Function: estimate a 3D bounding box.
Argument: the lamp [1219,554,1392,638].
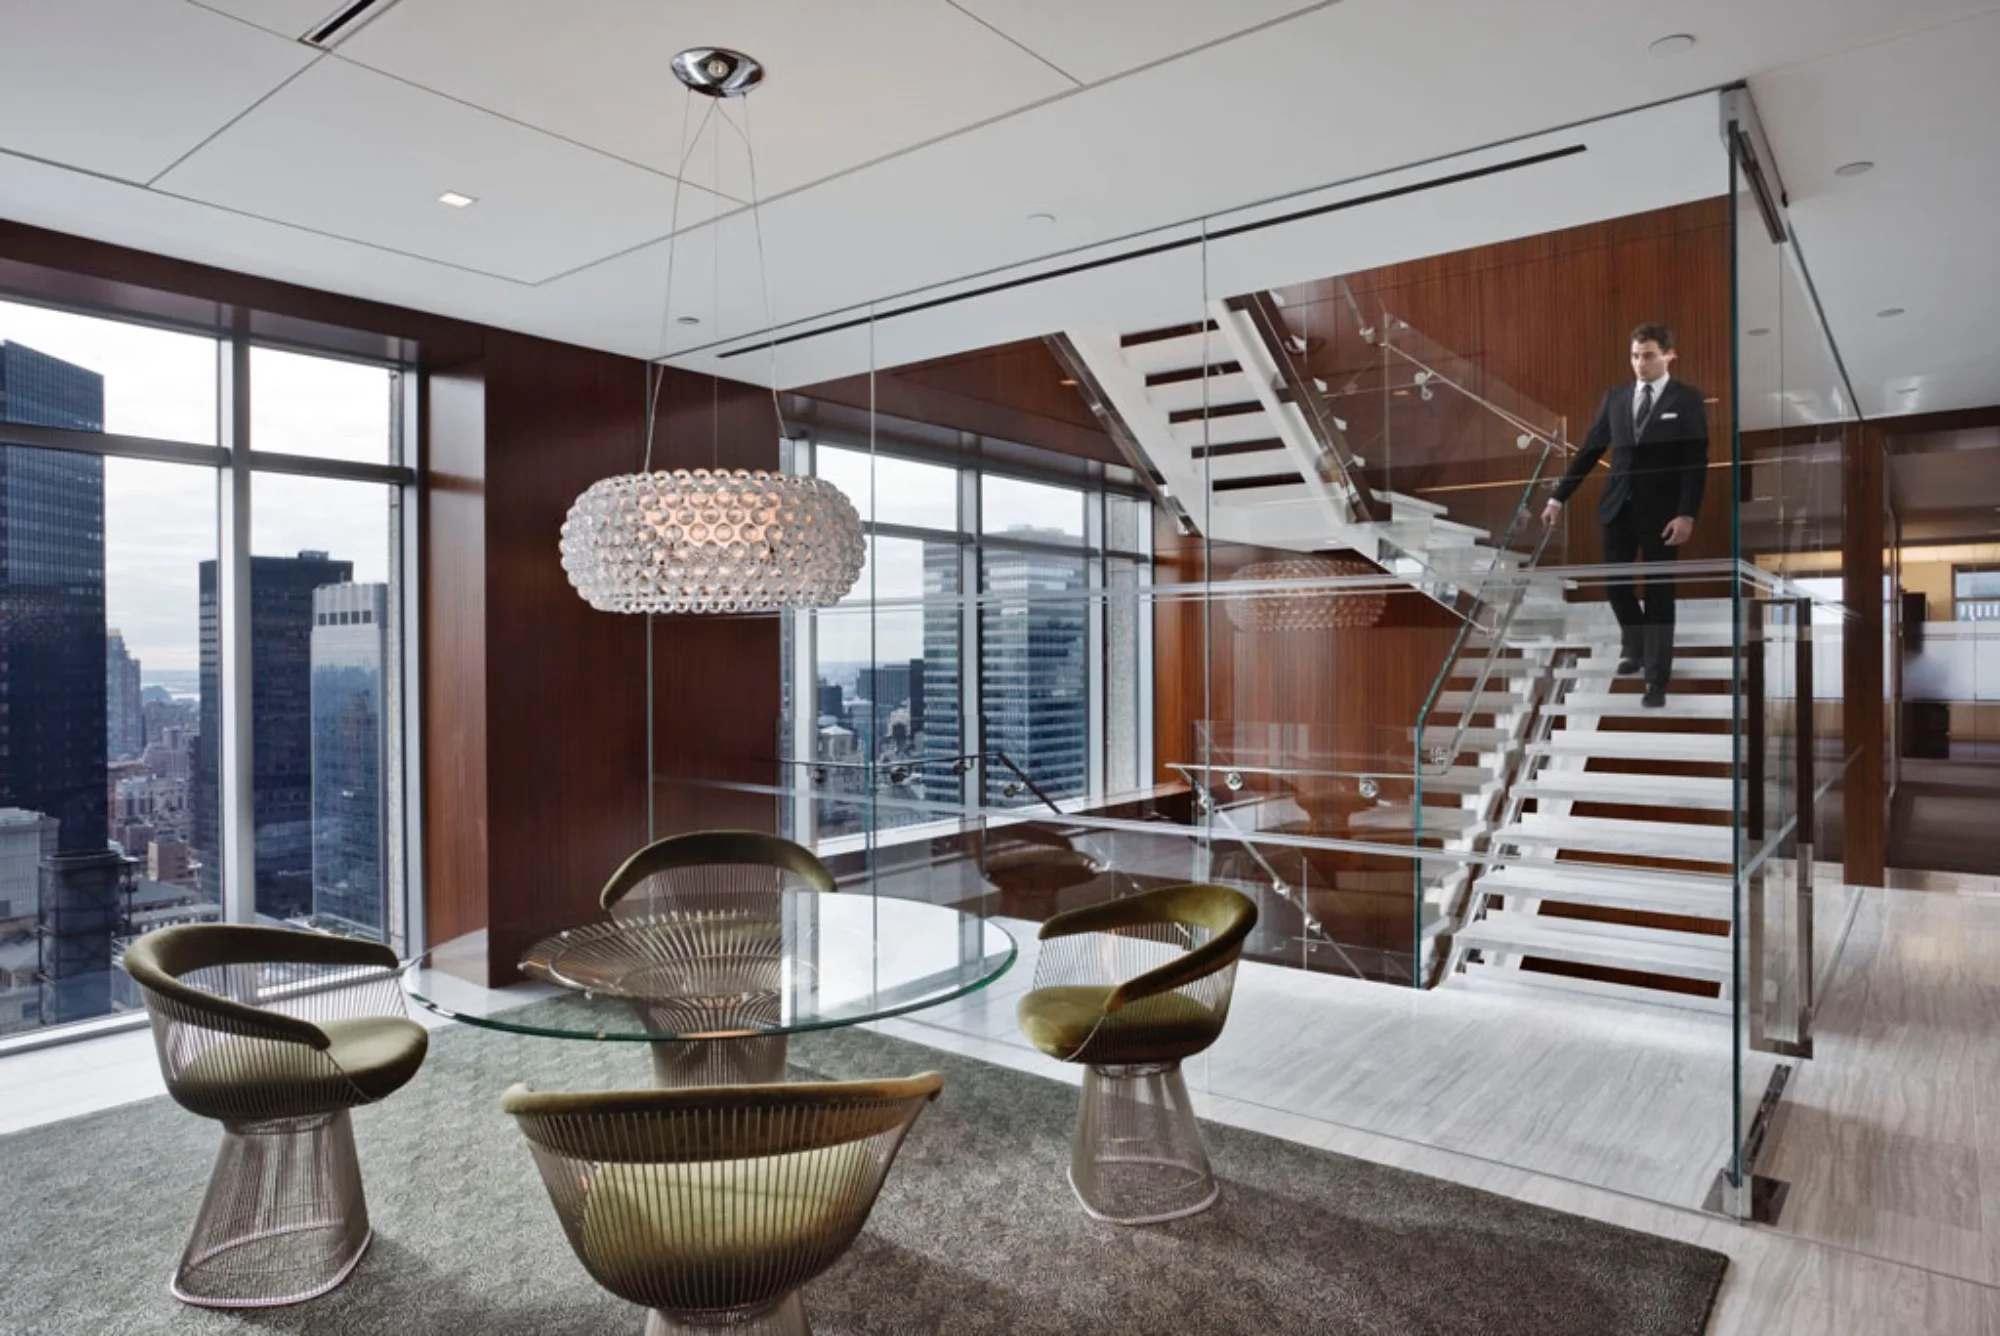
[{"bbox_3d":[1.298,-0.311,5.376,0.483,0.301,0.274,-3,-28,26],"label":"lamp"}]

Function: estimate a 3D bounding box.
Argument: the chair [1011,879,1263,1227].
[{"bbox_3d":[0.506,1.429,4.780,0.915,1.128,1.021,0,2,-19],"label":"chair"}]

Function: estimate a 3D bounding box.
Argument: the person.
[{"bbox_3d":[2.378,-0.583,4.796,0.492,1.398,0.292,6,13,32],"label":"person"}]

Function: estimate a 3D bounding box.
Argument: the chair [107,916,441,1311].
[{"bbox_3d":[-2.456,1.516,4.369,0.943,1.131,0.957,-2,2,-28],"label":"chair"}]

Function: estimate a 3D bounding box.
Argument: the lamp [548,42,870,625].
[{"bbox_3d":[-1.001,-1.282,4.791,1.174,2.051,1.166,-4,9,-28],"label":"lamp"}]

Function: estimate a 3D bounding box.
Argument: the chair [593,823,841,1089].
[{"bbox_3d":[-1.102,1.214,4.787,0.957,1.061,1.015,-5,4,-12],"label":"chair"}]
